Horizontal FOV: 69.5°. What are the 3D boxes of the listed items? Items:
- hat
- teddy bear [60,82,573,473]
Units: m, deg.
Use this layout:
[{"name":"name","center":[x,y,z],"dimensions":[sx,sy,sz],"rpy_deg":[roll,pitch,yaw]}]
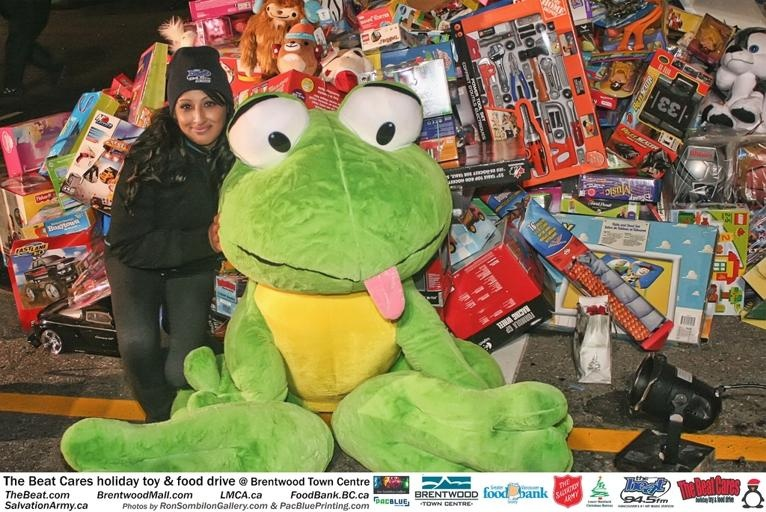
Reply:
[{"name":"hat","center":[-1.037,-1.002,3.246],"dimensions":[0.352,0.348,0.382],"rpy_deg":[-3,-8,-12]},{"name":"teddy bear","center":[-0.213,0.106,2.502],"dimensions":[2.008,1.773,0.570],"rpy_deg":[1,10,-2]}]
